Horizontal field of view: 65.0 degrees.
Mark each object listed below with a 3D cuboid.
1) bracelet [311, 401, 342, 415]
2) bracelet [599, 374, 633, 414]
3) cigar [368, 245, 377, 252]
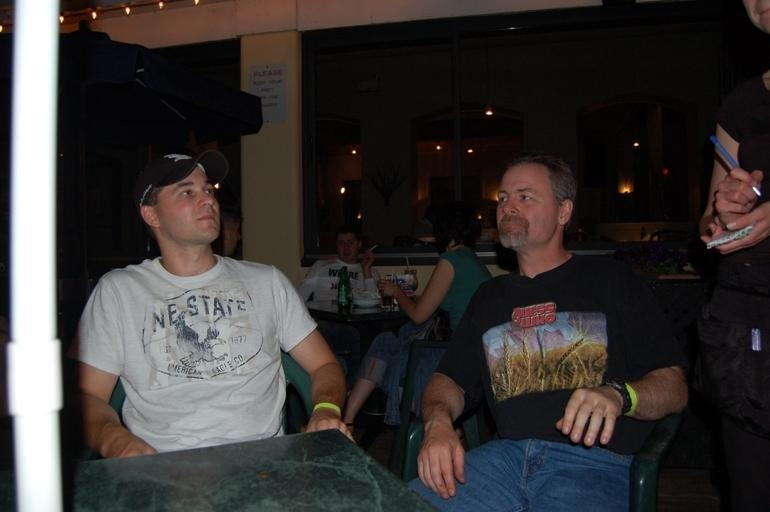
[{"bbox_3d":[-0.217,0.565,2.250,0.099,0.040,0.072,1,12,1],"label":"bracelet"},{"bbox_3d":[0.791,0.474,2.057,0.071,0.099,0.096,-4,13,-19],"label":"bracelet"},{"bbox_3d":[-0.113,-0.068,5.071,0.083,0.021,0.059,-26,-3,19],"label":"cigar"}]
